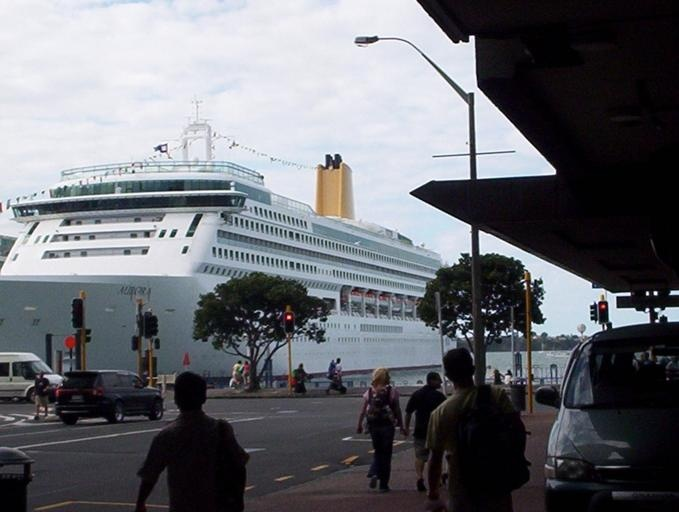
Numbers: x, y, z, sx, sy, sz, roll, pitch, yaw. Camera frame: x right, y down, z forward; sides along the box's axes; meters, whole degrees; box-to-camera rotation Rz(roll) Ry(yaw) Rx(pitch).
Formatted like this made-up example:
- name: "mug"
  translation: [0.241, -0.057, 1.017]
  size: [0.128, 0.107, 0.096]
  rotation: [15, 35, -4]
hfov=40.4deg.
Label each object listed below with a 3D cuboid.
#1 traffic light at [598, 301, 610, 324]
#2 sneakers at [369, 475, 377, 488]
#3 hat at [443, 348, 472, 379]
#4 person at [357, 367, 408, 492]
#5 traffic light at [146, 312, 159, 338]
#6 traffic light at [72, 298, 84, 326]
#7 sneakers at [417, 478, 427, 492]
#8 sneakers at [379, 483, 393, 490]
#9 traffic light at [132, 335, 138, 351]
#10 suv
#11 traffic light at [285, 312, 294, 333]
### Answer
- name: "traffic light"
  translation: [9.282, 1.971, 32.626]
  size: [0.287, 0.751, 0.672]
  rotation: [-1, -10, 11]
- name: "sneakers"
  translation: [0.458, 3.065, 12.527]
  size: [0.107, 0.174, 0.063]
  rotation: [1, -5, 1]
- name: "hat"
  translation: [1.000, 0.953, 8.044]
  size: [0.239, 0.279, 0.285]
  rotation: [1, -13, -1]
- name: "person"
  translation: [0.559, 2.390, 12.898]
  size: [0.615, 1.685, 1.020]
  rotation: [1, -10, 3]
- name: "traffic light"
  translation: [-6.950, 2.515, 33.999]
  size: [0.482, 0.956, 1.398]
  rotation: [4, -10, -12]
- name: "traffic light"
  translation: [-7.111, 1.530, 25.108]
  size: [0.279, 0.787, 0.330]
  rotation: [-1, -10, 11]
- name: "sneakers"
  translation: [1.082, 3.032, 12.213]
  size: [0.094, 0.108, 0.256]
  rotation: [-3, -54, -1]
- name: "sneakers"
  translation: [0.607, 3.127, 12.511]
  size: [0.143, 0.099, 0.324]
  rotation: [1, -10, 3]
- name: "traffic light"
  translation: [-7.490, 3.159, 33.931]
  size: [0.233, 0.481, 0.583]
  rotation: [3, -10, -7]
- name: "suv"
  translation: [-6.127, 3.745, 25.163]
  size: [1.400, 0.986, 2.851]
  rotation: [-3, -3, 29]
- name: "traffic light"
  translation: [-2.032, 2.595, 36.813]
  size: [0.363, 0.841, 0.677]
  rotation: [3, -10, -7]
